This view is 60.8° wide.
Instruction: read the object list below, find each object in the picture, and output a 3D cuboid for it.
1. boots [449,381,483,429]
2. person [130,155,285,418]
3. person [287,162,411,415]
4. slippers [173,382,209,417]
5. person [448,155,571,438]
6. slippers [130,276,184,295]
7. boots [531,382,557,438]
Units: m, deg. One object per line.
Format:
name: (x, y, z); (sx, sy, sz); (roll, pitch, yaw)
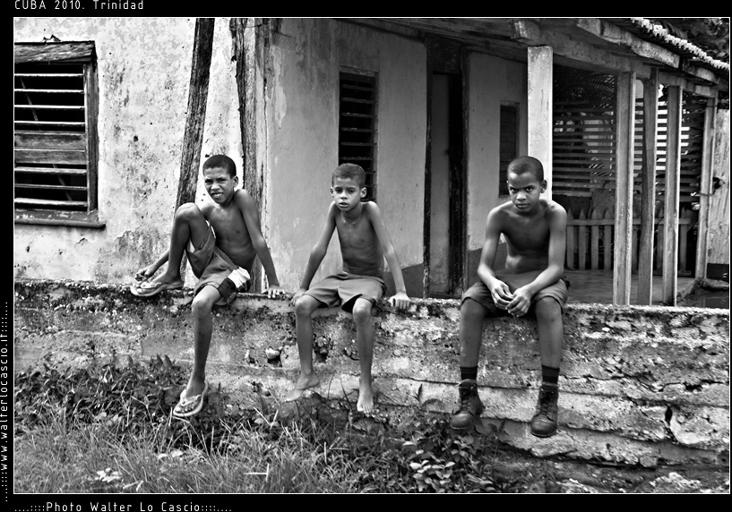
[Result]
boots: (0.734, 1.065, 4.536); (0.134, 0.292, 0.393); (-4, 11, 33)
person: (-1.269, 0.236, 5.134); (1.194, 2.090, 0.629); (1, 4, -4)
person: (-0.116, 0.230, 4.869); (0.902, 1.879, 0.556); (1, 4, 3)
slippers: (-1.382, 1.181, 4.975); (0.126, 0.093, 0.312); (11, 37, 16)
person: (1.056, 0.420, 4.505); (0.728, 1.697, 0.526); (2, 4, 20)
slippers: (-1.784, 0.292, 5.283); (0.341, 0.103, 0.187); (-1, 17, -2)
boots: (1.244, 1.066, 4.297); (0.140, 0.192, 0.434); (2, 23, 17)
